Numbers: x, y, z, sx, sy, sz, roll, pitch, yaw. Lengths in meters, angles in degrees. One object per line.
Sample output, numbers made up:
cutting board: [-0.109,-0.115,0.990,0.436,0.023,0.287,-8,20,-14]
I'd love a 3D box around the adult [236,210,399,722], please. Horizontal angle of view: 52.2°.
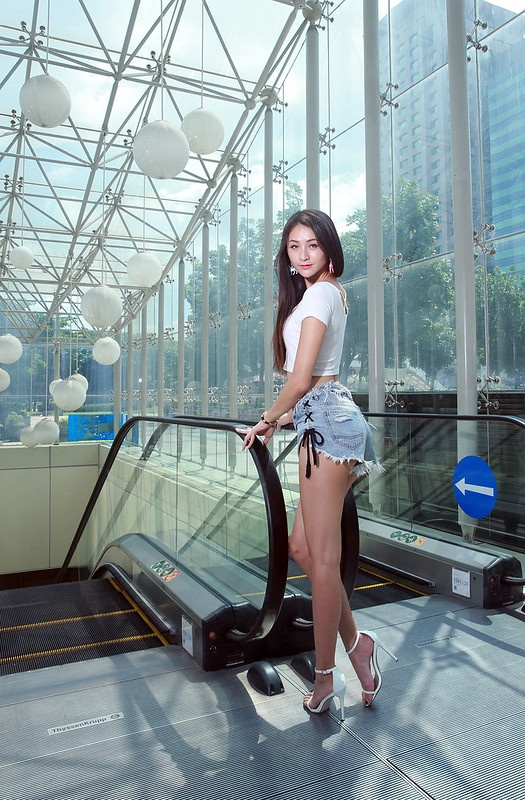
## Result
adult: [0.182,0.229,1.984,0.495,1.879,0.516,-3,-6,10]

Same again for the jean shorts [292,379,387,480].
jean shorts: [0.291,0.068,1.986,0.269,0.419,0.392,-1,4,25]

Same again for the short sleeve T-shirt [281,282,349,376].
short sleeve T-shirt: [0.228,-0.257,1.986,0.250,0.427,0.439,5,-1,11]

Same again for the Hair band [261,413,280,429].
Hair band: [0.040,0.091,2.086,0.022,0.071,0.070,-27,11,-9]

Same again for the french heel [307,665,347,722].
french heel: [0.218,1.041,1.957,0.166,0.182,0.080,2,-1,29]

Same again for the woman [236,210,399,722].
woman: [0.180,0.229,1.984,0.494,1.879,0.514,-3,-6,11]
